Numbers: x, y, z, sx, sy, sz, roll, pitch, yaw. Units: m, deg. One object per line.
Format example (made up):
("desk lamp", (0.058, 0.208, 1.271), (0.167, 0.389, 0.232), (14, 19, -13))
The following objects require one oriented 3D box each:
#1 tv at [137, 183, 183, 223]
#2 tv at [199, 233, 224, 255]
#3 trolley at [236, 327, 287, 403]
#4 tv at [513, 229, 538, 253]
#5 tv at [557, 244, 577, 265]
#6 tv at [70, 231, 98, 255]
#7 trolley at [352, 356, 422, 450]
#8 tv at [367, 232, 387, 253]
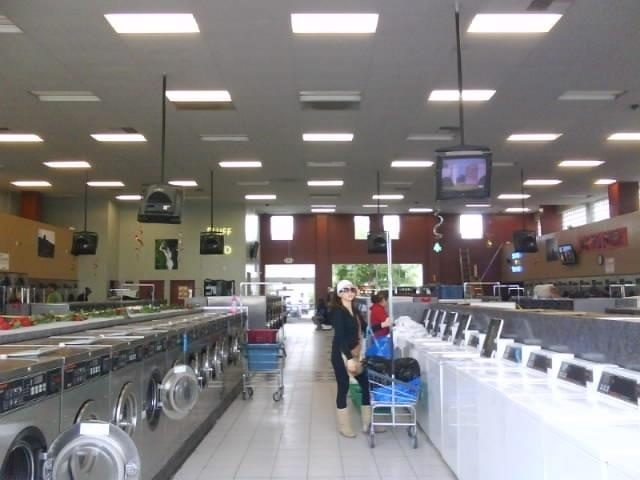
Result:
("tv", (-2.645, -0.601, 8.471), (0.659, 0.668, 0.384), (0, -16, -6))
("tv", (-3.022, 0.077, 13.951), (0.728, 0.778, 0.545), (2, 8, 0))
("trolley", (-0.836, 1.785, 7.532), (0.668, 0.979, 0.959), (-1, -2, -5))
("tv", (6.006, 0.030, 14.814), (0.588, 0.642, 0.492), (-3, -4, 30))
("tv", (7.923, 0.451, 16.190), (0.207, 0.721, 0.642), (-5, 0, -8))
("tv", (-6.245, 0.072, 13.494), (0.527, 0.596, 0.435), (0, -4, -5))
("trolley", (0.803, 1.779, 5.621), (0.567, 0.885, 0.529), (-1, -10, 6))
("tv", (1.544, 0.053, 13.653), (0.476, 0.545, 0.618), (-1, -4, 4))
